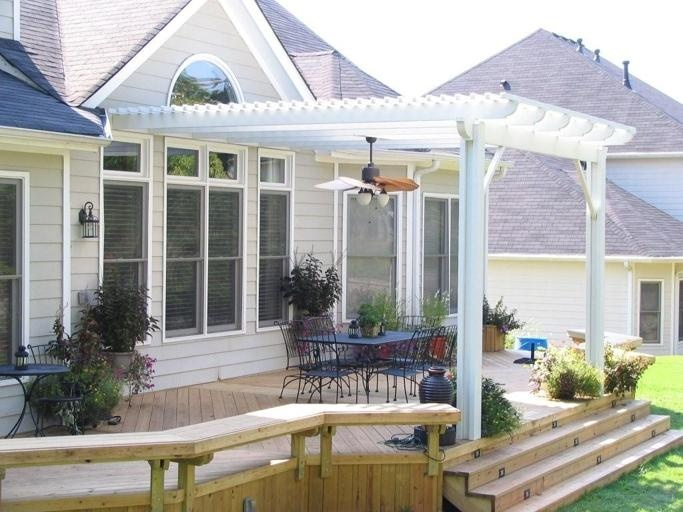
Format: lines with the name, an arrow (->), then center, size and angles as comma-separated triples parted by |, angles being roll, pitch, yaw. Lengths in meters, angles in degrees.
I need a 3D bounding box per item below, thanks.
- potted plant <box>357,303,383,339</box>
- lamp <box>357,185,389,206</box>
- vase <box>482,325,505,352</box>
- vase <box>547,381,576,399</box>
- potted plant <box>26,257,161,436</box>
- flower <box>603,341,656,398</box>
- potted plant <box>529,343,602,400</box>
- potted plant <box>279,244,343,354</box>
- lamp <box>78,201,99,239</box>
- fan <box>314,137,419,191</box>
potted plant -> 0.369, 0.996, 12.975 | 0.342, 0.426, 0.412 | -1, -3, 17
lamp -> 0.444, -0.879, 13.113 | 0.223, 0.315, 0.559 | -2, 6, -5
vase -> 3.035, 1.685, 17.536 | 0.560, 0.455, 0.575 | 0, -3, -8
vase -> 3.169, 1.957, 12.467 | 0.264, 0.255, 0.281 | -3, -5, 22
potted plant -> -3.197, 1.242, 11.237 | 0.922, 2.055, 1.840 | -2, -4, 31
flower -> 4.330, 1.782, 13.225 | 0.726, 0.604, 0.857 | 2, 4, 37
potted plant -> 3.300, 1.704, 12.726 | 0.737, 0.680, 0.751 | -1, 1, 7
potted plant -> -0.417, 0.665, 14.383 | 0.842, 0.951, 0.721 | 10, -13, 6
lamp -> -3.383, -0.479, 11.617 | 0.294, 0.505, 0.161 | 3, -4, -38
fan -> 0.413, -1.187, 12.525 | 0.951, 0.506, 0.996 | 2, 5, 26
